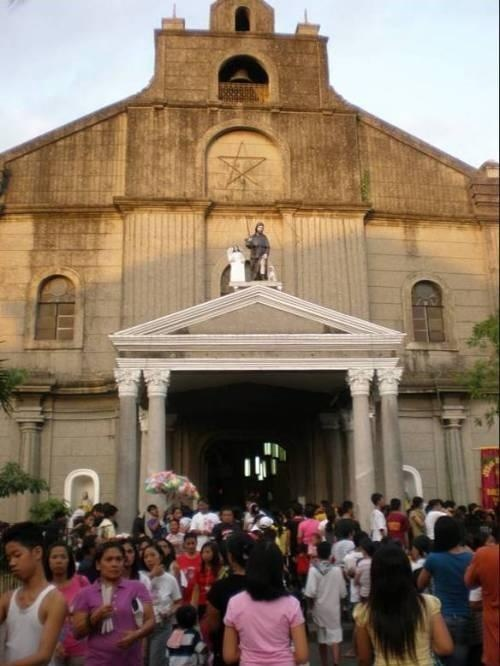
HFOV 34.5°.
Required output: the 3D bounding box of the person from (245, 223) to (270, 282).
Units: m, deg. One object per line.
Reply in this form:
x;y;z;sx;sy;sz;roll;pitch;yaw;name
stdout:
0.184;-2.003;20.130;0.532;1.607;0.645;-4;-16;2;person
